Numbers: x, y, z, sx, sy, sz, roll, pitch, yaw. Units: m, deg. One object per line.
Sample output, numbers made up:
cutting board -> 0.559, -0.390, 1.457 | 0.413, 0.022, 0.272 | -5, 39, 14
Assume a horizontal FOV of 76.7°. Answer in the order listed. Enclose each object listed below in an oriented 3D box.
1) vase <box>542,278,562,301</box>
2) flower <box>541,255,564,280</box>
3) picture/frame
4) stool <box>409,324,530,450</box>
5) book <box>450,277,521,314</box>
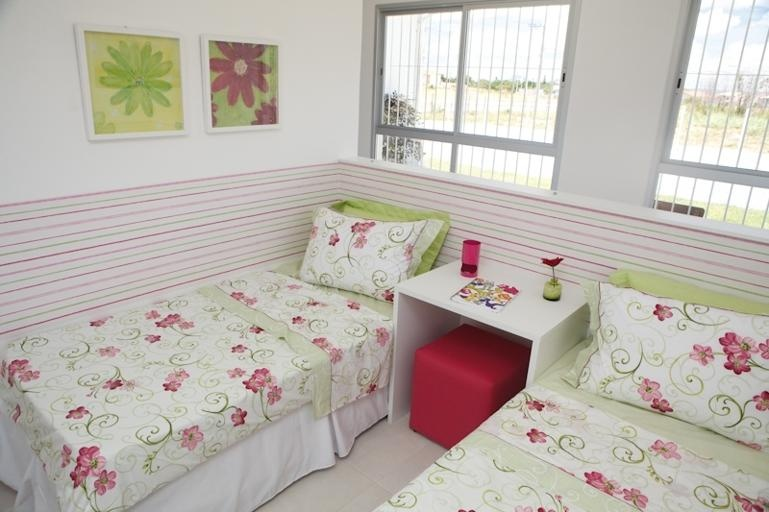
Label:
vase -> 0.909, 0.178, 2.589 | 0.080, 0.106, 0.143 | 22, 28, 39
flower -> 0.913, 0.062, 2.648 | 0.135, 0.133, 0.133 | -4, 23, 25
picture/frame -> -1.081, -0.938, 2.702 | 1.072, 0.553, 0.101 | -14, 27, -37
stool -> 0.440, 0.650, 2.792 | 0.601, 0.628, 0.607 | 19, 30, 37
book -> 0.547, 0.215, 2.610 | 0.200, 0.024, 0.209 | 16, 33, 34
